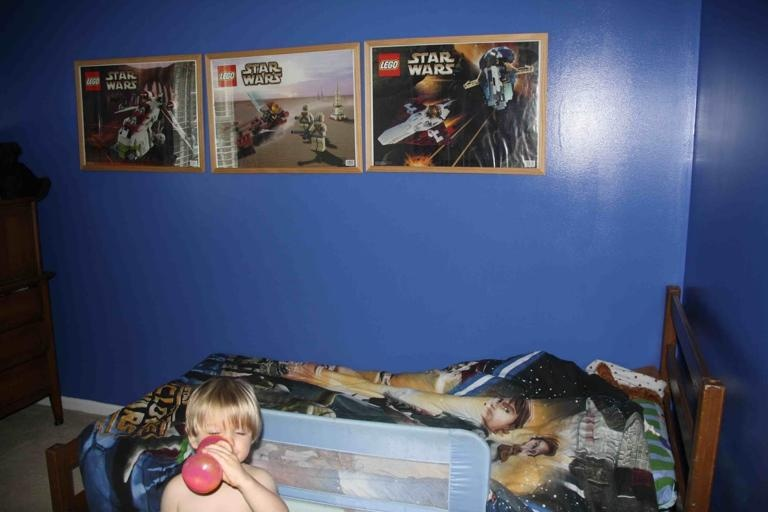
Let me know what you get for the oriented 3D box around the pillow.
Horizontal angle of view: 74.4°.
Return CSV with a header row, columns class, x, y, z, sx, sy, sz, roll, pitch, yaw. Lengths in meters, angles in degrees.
class,x,y,z,sx,sy,sz,roll,pitch,yaw
pillow,1.309,0.916,2.417,0.237,0.107,0.404,11,51,-10
